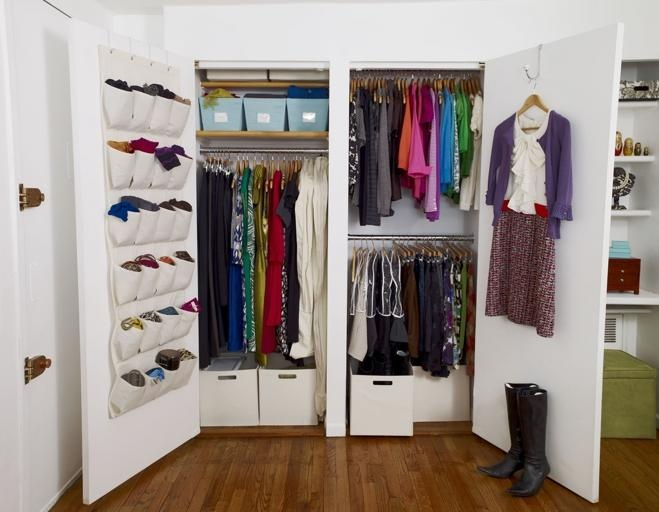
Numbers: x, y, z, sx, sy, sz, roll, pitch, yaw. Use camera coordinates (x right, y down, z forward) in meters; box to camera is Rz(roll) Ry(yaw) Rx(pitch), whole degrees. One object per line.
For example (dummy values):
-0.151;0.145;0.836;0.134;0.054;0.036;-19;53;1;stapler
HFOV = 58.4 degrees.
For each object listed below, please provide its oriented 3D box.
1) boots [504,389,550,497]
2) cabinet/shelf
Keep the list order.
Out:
1.229;1.150;3.625;0.260;0.596;0.190;0;6;10;boots
0.187;0.047;3.898;2.501;2.841;1.430;0;4;-1;cabinet/shelf
